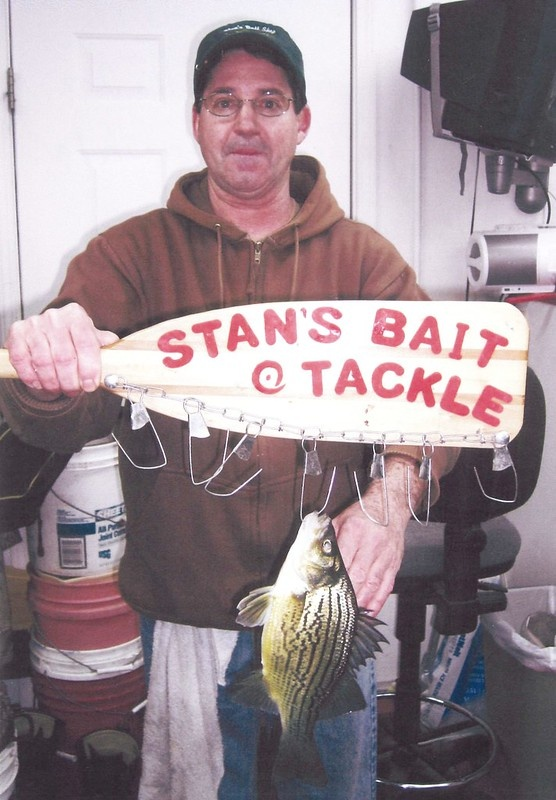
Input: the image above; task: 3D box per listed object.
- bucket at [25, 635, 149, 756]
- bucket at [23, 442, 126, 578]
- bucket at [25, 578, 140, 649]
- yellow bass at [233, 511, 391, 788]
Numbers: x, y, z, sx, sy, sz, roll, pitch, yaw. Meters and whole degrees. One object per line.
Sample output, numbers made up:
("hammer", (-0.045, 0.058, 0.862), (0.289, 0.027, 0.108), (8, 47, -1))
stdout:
("bucket", (-0.414, 0.609, 1.876), (0.270, 0.228, 0.255), (-1, -3, 0))
("bucket", (-0.411, 0.229, 1.923), (0.298, 0.263, 0.300), (-1, 0, 0))
("bucket", (-0.426, 0.445, 1.848), (0.199, 0.099, 0.178), (-5, -5, 26))
("yellow bass", (0.052, 0.526, 1.883), (0.364, 0.502, 0.250), (1, 6, -11))
